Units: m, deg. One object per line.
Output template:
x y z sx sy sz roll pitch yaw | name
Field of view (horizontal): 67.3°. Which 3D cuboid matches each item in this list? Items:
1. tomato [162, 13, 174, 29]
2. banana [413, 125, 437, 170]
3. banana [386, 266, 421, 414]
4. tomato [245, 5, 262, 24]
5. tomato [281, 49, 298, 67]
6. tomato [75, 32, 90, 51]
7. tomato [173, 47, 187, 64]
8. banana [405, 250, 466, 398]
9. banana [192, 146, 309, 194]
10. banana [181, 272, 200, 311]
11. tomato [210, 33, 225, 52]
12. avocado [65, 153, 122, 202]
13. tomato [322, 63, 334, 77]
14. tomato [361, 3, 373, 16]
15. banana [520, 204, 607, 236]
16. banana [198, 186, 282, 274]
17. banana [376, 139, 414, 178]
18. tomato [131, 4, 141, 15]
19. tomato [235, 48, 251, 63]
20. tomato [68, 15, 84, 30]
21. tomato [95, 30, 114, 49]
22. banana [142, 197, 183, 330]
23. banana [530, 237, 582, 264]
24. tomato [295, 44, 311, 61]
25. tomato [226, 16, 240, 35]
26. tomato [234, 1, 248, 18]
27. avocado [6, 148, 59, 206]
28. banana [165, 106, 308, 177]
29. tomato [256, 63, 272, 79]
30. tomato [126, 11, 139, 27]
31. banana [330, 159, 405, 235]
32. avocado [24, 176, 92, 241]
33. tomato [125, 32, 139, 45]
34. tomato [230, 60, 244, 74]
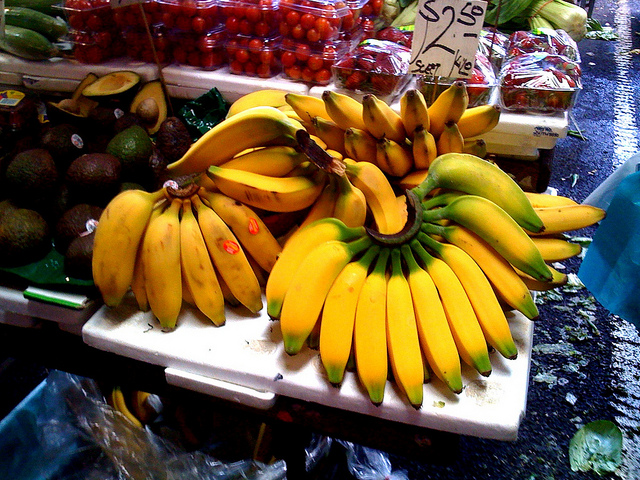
-0.666 -0.962 2.109 0.028 0.075 0.068 -25 48 -29 | tomato
0.315 -0.247 1.402 0.046 0.173 0.061 -19 51 4 | banana
0.203 0.229 1.146 0.069 0.332 0.105 0 -7 -34 | banana
-0.281 -0.955 2.034 0.072 0.072 0.029 22 44 21 | tomato
-0.131 -0.775 2.040 0.058 0.070 0.060 2 3 12 | tomato
-1.051 -0.879 2.131 0.052 0.070 0.039 4 12 2 | tomato
-0.619 -0.824 2.136 0.053 0.060 0.033 -25 -1 -5 | tomato
0.248 0.187 1.214 0.075 0.093 0.390 -20 71 -5 | banana
-0.188 -0.201 1.433 0.402 0.136 0.111 -3 31 35 | banana
-0.357 0.148 1.375 0.032 0.122 0.039 -9 23 5 | banana
-0.444 -0.880 2.139 0.065 0.066 0.073 -1 49 0 | tomato
-0.702 -0.207 1.480 0.171 0.113 0.135 5 7 -8 | avocado
0.037 -0.716 2.032 0.047 0.067 0.032 -18 44 -23 | tomato
0.231 -1.142 2.375 0.031 0.066 0.081 26 46 25 | tomato
0.659 -0.057 1.310 0.202 0.057 0.067 -12 58 4 | banana
-0.229 -0.030 1.326 0.265 0.070 0.097 41 55 -13 | banana
0.211 -0.233 1.384 0.050 0.084 0.144 -1 -7 41 | banana
-0.789 -0.991 2.078 0.027 0.042 0.074 -24 48 -28 | tomato
-0.331 -0.790 2.054 0.052 0.066 0.053 -4 4 9 | tomato
-1.073 -0.960 2.113 0.040 0.055 0.058 -11 17 19 | tomato
-0.967 -0.902 2.156 0.083 0.074 0.029 -20 45 -25 | tomato
-0.405 0.075 1.317 0.088 0.320 0.109 5 -3 -7 | banana
0.684 0.024 1.345 0.170 0.055 0.062 8 65 -13 | banana
-0.071 -0.789 2.016 0.062 0.063 0.078 2 71 -9 | tomato
-0.377 -0.933 2.090 0.061 0.073 0.024 4 40 2 | tomato
-0.339 -0.982 2.050 0.061 0.076 0.062 1 9 1 | tomato
-0.875 -0.190 1.488 0.133 0.143 0.182 -5 7 -10 | avocado
-0.238 -0.281 1.409 0.501 0.131 0.180 -19 9 1 | banana
-0.239 -0.730 2.076 0.055 0.068 0.058 13 18 32 | tomato
-0.828 -0.975 2.120 0.036 0.048 0.013 0 31 0 | tomato
0.155 -0.130 1.375 0.137 0.242 0.065 -20 10 5 | banana
-0.826 -0.109 1.507 0.134 0.064 0.250 -19 71 10 | avocado
-0.843 -0.907 2.159 0.071 0.048 0.029 17 42 16 | tomato
-0.361 -0.753 2.092 0.052 0.053 0.053 1 16 13 | tomato
